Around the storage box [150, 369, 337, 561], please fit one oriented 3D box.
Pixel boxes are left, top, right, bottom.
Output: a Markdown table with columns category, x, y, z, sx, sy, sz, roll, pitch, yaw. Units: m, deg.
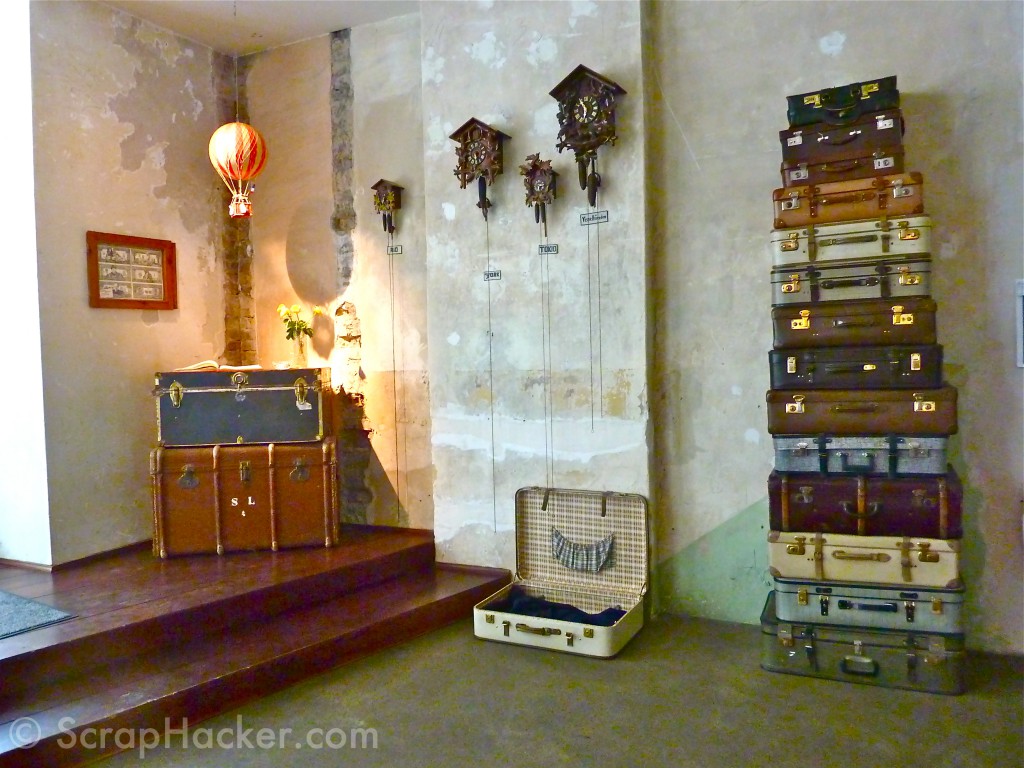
| category | x | y | z | sx | sy | sz | roll | pitch | yaw |
| --- | --- | --- | --- | --- | --- | --- | --- | --- | --- |
| storage box | -1.979 | 0.493 | 6.079 | 1.399 | 1.379 | 1.209 | 0 | 1 | -8 |

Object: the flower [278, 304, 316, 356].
| category | x | y | z | sx | sy | sz | roll | pitch | yaw |
| --- | --- | --- | --- | --- | --- | --- | --- | --- | --- |
| flower | -1.678 | -0.423 | 6.326 | 0.255 | 0.424 | 0.399 | -1 | 1 | -16 |

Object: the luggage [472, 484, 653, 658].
| category | x | y | z | sx | sy | sz | roll | pitch | yaw |
| --- | --- | --- | --- | --- | --- | --- | --- | --- | --- |
| luggage | 0.285 | 1.113 | 4.976 | 0.934 | 0.847 | 0.721 | 1 | 5 | 34 |

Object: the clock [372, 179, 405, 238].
| category | x | y | z | sx | sy | sz | roll | pitch | yaw |
| --- | --- | --- | --- | --- | --- | --- | --- | --- | --- |
| clock | -0.918 | -1.304 | 5.978 | 0.185 | 0.384 | 0.167 | 0 | 2 | 23 |

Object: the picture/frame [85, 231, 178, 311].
| category | x | y | z | sx | sy | sz | roll | pitch | yaw |
| --- | --- | --- | --- | --- | --- | --- | --- | --- | --- |
| picture/frame | -2.726 | -0.813 | 5.776 | 0.044 | 0.471 | 0.614 | 3 | 5 | 32 |
